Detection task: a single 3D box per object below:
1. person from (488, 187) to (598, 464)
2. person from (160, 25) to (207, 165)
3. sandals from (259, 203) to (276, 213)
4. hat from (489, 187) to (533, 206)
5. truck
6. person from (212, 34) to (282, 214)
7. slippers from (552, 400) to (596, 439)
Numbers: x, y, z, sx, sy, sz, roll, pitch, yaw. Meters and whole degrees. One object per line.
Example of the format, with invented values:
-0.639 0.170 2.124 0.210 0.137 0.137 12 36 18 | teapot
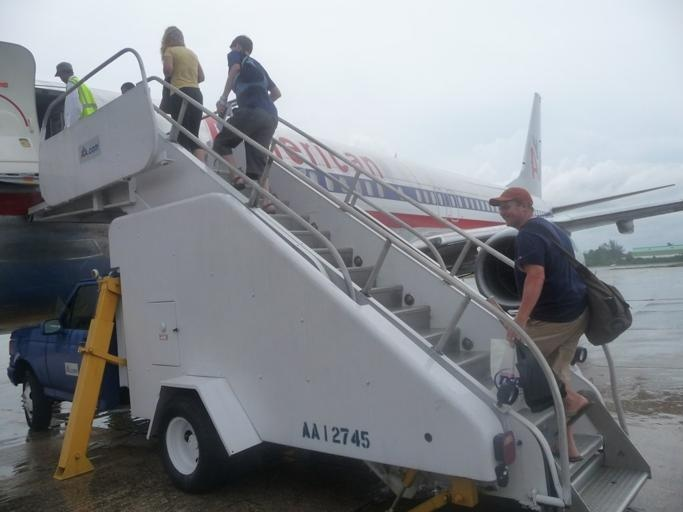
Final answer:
1.644 0.502 4.039 0.676 2.261 0.689 -2 -1 10 | person
-1.779 -1.787 5.629 0.491 1.146 0.661 -2 -1 -21 | person
-0.766 -0.471 5.140 0.067 0.137 0.197 -10 -2 -41 | sandals
1.444 -0.510 4.313 0.282 0.170 0.194 2 1 7 | hat
-2.265 1.102 5.899 3.220 1.760 1.762 0 -2 32 | truck
-1.046 -1.502 5.619 0.687 2.057 0.625 7 -13 -26 | person
1.795 1.235 3.884 0.118 0.167 0.553 -14 -1 44 | slippers
